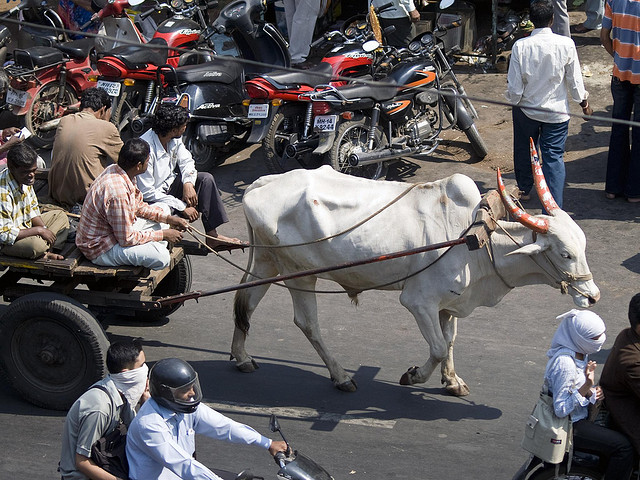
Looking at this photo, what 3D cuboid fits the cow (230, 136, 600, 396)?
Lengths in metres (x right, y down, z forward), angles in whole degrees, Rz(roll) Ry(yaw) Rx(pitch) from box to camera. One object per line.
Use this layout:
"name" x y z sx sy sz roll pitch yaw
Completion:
"cow" 0.733 0.390 6.215 3.590 1.994 0.895 4 9 15

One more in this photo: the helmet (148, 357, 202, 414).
"helmet" -0.865 0.897 4.192 0.358 0.261 0.272 22 32 14

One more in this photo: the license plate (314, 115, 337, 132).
"license plate" 0.066 -1.584 9.206 0.267 0.172 0.033 1 3 5

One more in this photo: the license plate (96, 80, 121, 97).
"license plate" -3.124 -2.241 9.956 0.327 0.235 0.334 -2 9 -16

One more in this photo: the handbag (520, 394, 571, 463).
"handbag" 1.546 1.253 4.592 0.269 0.410 0.441 9 -3 -3

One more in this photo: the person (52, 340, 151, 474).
"person" -1.492 1.130 4.600 0.543 1.249 0.495 13 36 -6

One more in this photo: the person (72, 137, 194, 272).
"person" -1.599 -0.300 5.996 0.928 0.967 1.030 29 27 33

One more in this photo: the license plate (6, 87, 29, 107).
"license plate" -4.674 -2.152 10.360 0.366 0.289 0.090 19 -1 15

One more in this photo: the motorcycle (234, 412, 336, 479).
"motorcycle" -0.236 1.305 4.172 0.491 0.516 0.395 10 13 43

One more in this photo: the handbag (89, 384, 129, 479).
"handbag" -1.274 1.291 4.282 0.204 0.370 0.301 5 10 20
